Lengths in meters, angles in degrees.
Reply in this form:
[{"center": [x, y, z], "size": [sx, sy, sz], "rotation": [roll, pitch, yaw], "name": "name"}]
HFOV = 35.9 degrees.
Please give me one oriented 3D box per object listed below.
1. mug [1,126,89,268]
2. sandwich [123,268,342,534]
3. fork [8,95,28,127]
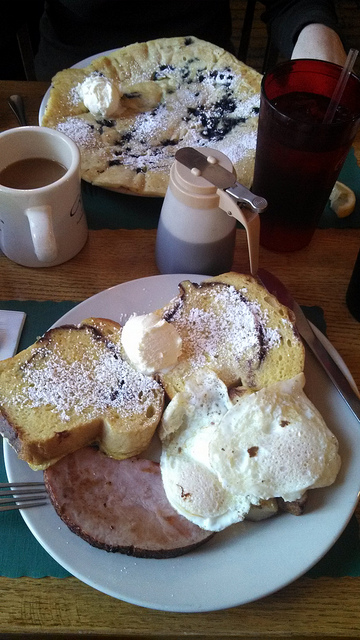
[{"center": [-0.223, -0.206, 1.022], "size": [0.198, 0.231, 0.229], "rotation": [-9, 53, -10], "name": "mug"}, {"center": [0.070, 0.100, 0.847], "size": [0.281, 0.063, 0.423], "rotation": [-11, 58, 8], "name": "sandwich"}, {"center": [-0.343, -0.449, 1.173], "size": [0.024, 0.013, 0.089], "rotation": [-24, 73, -24], "name": "fork"}]
